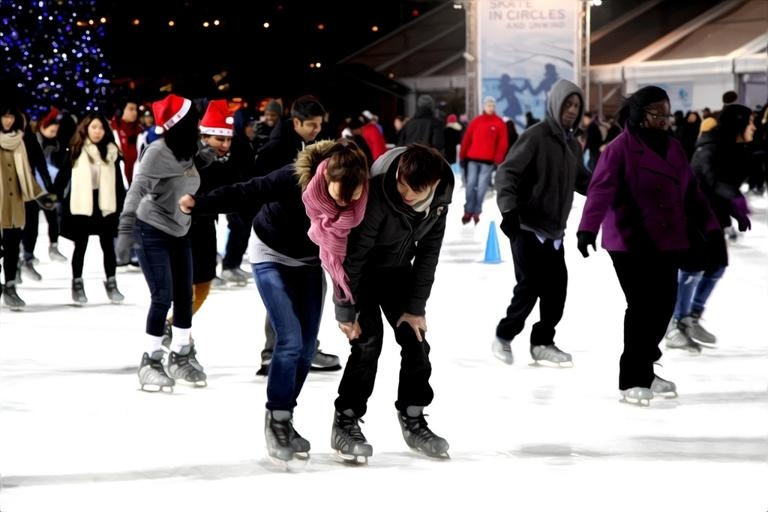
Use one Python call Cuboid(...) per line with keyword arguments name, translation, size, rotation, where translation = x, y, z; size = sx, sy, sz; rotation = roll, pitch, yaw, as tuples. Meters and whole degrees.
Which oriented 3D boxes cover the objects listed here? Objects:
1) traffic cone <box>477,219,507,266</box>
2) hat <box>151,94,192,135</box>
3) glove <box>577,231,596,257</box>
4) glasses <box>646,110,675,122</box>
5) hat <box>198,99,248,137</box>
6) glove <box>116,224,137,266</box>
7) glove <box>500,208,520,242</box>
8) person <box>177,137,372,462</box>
Cuboid(name="traffic cone", translation=(1.636, -0.182, 12.011), size=(0.575, 0.709, 0.524), rotation=(-2, 0, -12))
Cuboid(name="hat", translation=(-1.730, -1.109, 6.202), size=(0.334, 0.246, 0.154), rotation=(-27, -50, 28))
Cuboid(name="glove", translation=(1.542, -0.086, 5.992), size=(0.183, 0.199, 0.241), rotation=(-2, 13, 9))
Cuboid(name="glasses", translation=(2.070, -1.077, 5.959), size=(0.143, 0.041, 0.144), rotation=(-4, 22, -22))
Cuboid(name="hat", translation=(-1.444, -1.190, 6.863), size=(0.417, 0.385, 0.315), rotation=(6, 5, -1))
Cuboid(name="glove", translation=(-2.040, -0.085, 6.229), size=(0.164, 0.342, 0.506), rotation=(-4, 11, -18))
Cuboid(name="glove", translation=(1.095, -0.256, 6.765), size=(0.152, 0.308, 0.286), rotation=(1, 11, 9))
Cuboid(name="person", translation=(-0.588, 0.291, 5.129), size=(1.049, 2.077, 0.559), rotation=(6, 12, 30))
